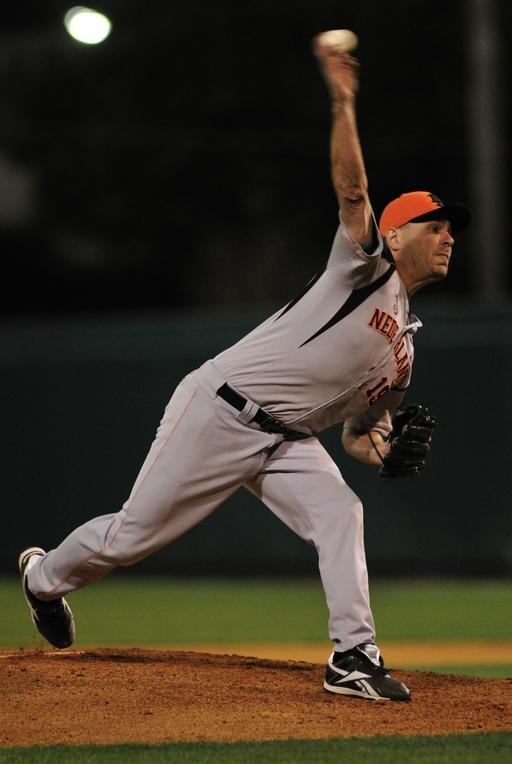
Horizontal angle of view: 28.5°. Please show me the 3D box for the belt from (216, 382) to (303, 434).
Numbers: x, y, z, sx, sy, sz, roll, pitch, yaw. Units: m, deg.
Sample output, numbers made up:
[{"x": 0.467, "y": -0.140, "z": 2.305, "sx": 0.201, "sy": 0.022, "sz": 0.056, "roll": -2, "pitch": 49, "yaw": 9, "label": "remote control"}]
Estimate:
[{"x": 0.005, "y": 0.072, "z": 2.738, "sx": 0.169, "sy": 0.049, "sz": 0.126, "roll": 33, "pitch": 1, "yaw": -12, "label": "belt"}]

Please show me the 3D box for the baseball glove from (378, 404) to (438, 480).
[{"x": 0.429, "y": 0.177, "z": 2.873, "sx": 0.090, "sy": 0.225, "sz": 0.171, "roll": 23, "pitch": 6, "yaw": -11, "label": "baseball glove"}]

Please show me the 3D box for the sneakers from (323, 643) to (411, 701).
[{"x": 0.277, "y": 0.759, "z": 2.645, "sx": 0.265, "sy": 0.118, "sz": 0.094, "roll": 1, "pitch": -3, "yaw": 32, "label": "sneakers"}]

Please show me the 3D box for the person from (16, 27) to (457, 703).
[{"x": 0.034, "y": 0.001, "z": 2.908, "sx": 0.931, "sy": 1.668, "sz": 0.687, "roll": -3, "pitch": -6, "yaw": 35, "label": "person"}]

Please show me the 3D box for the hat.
[{"x": 0.491, "y": -0.468, "z": 2.874, "sx": 0.219, "sy": 0.110, "sz": 0.133, "roll": -16, "pitch": -2, "yaw": 22, "label": "hat"}]
